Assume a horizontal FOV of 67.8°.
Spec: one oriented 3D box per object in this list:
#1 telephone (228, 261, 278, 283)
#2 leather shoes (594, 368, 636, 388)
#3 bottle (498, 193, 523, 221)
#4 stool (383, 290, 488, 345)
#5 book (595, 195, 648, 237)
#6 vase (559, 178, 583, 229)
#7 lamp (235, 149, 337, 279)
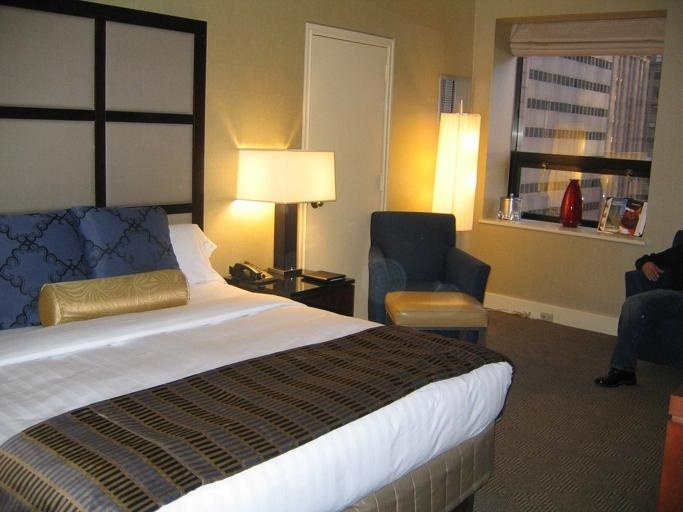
[{"bbox_3d":[-0.703,0.132,3.910,0.279,0.107,0.155,8,12,43],"label":"telephone"},{"bbox_3d":[2.123,0.961,4.028,0.332,0.171,0.136,1,3,3],"label":"leather shoes"},{"bbox_3d":[1.934,-0.540,5.829,0.301,0.331,0.250,8,11,37],"label":"bottle"},{"bbox_3d":[0.744,0.439,3.973,0.619,0.425,0.436,1,6,-1],"label":"stool"},{"bbox_3d":[2.854,-0.403,5.166,0.377,0.382,0.388,9,-5,44],"label":"book"},{"bbox_3d":[2.483,-0.560,5.471,0.204,0.496,0.198,9,15,22],"label":"vase"},{"bbox_3d":[-0.462,-0.529,3.968,0.533,0.947,0.538,8,11,42],"label":"lamp"}]
